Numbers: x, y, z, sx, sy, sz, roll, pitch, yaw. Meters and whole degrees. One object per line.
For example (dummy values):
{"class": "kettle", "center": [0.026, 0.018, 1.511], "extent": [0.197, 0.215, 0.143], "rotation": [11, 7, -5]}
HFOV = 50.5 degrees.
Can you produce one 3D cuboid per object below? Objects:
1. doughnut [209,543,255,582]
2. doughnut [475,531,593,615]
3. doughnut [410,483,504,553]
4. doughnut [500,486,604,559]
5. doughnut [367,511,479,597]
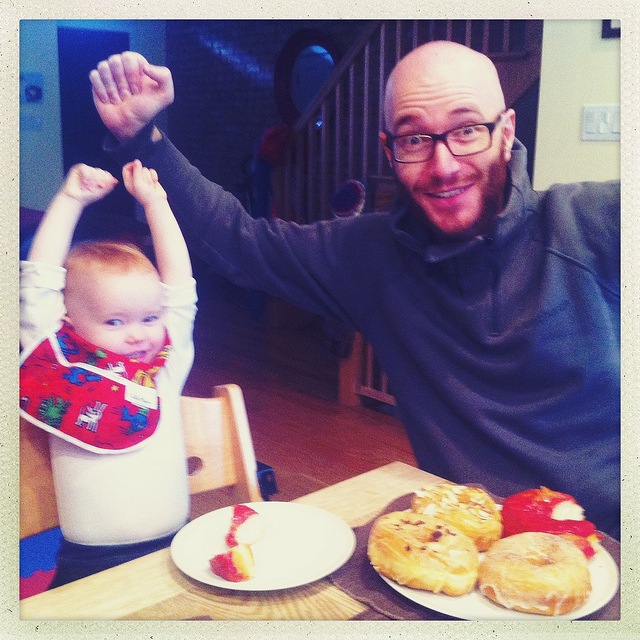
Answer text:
{"class": "doughnut", "center": [-0.150, 0.400, 1.154], "extent": [0.051, 0.040, 0.062], "rotation": [-3, 2, 23]}
{"class": "doughnut", "center": [0.348, 0.425, 1.132], "extent": [0.181, 0.108, 0.088], "rotation": [-1, 10, 0]}
{"class": "doughnut", "center": [0.257, 0.347, 1.220], "extent": [0.111, 0.034, 0.095], "rotation": [-2, 25, -43]}
{"class": "doughnut", "center": [0.427, 0.345, 1.261], "extent": [0.138, 0.092, 0.135], "rotation": [12, 11, 27]}
{"class": "doughnut", "center": [0.178, 0.392, 1.161], "extent": [0.181, 0.069, 0.218], "rotation": [-3, 11, -36]}
